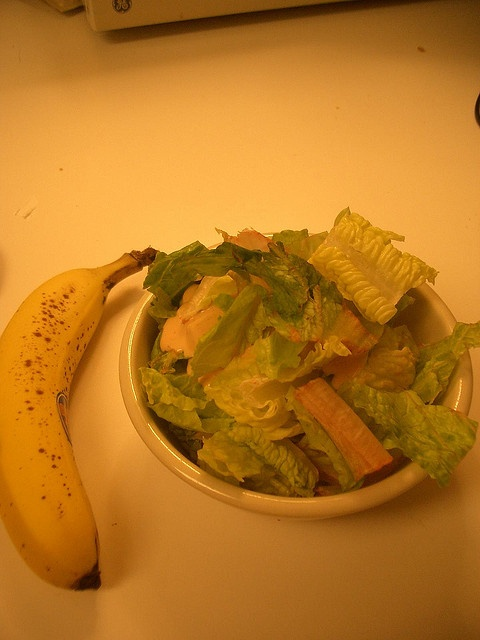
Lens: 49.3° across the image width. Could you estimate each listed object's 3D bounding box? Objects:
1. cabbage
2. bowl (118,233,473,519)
[{"bbox_3d":[0.064,0.089,0.691,0.353,0.193,0.345,-30,60,-16],"label":"cabbage"},{"bbox_3d":[0.062,0.082,0.592,0.395,0.186,0.249,-6,24,-6],"label":"bowl"}]
